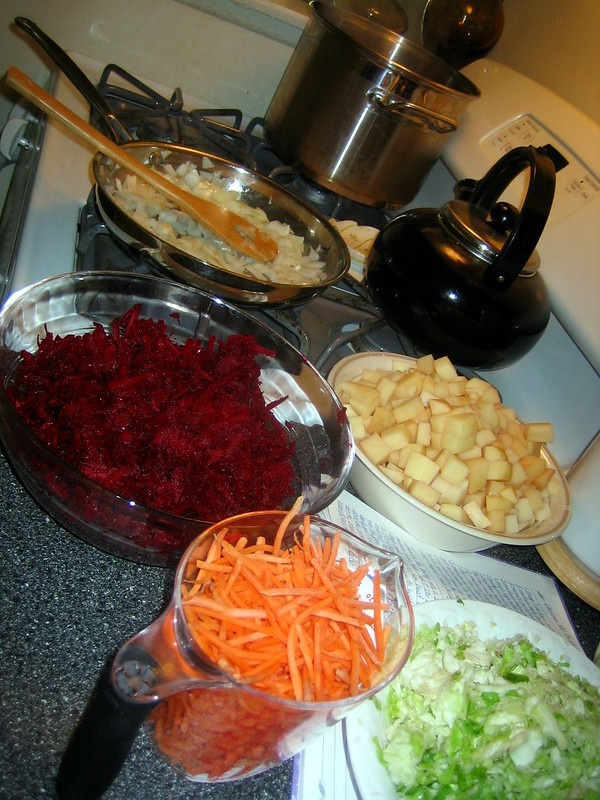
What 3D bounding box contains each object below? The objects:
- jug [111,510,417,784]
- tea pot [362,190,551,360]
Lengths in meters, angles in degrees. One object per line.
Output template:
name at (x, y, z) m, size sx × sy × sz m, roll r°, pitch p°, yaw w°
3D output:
jug at (-0.033, 0.200, 0.510) m, size 0.183 × 0.184 × 0.207 m, roll 31°, pitch 41°, yaw -1°
tea pot at (0.223, -0.172, 1.054) m, size 0.269 × 0.170 × 0.256 m, roll 24°, pitch 36°, yaw -18°
